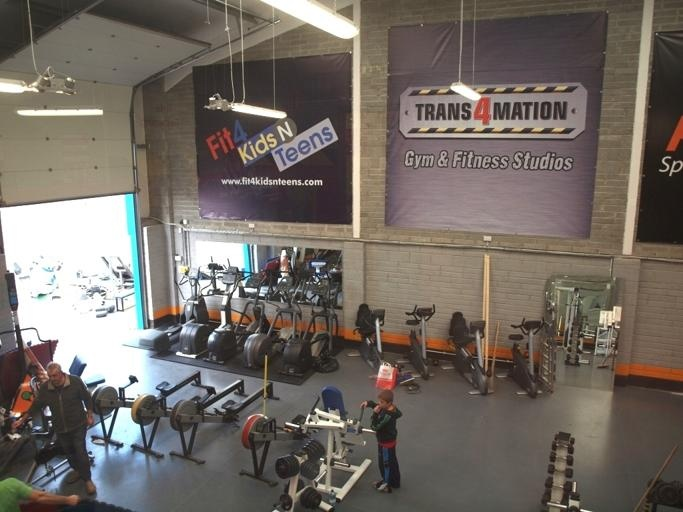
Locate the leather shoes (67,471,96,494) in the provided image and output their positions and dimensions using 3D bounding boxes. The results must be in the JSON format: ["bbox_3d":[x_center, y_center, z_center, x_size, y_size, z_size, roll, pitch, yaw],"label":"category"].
[{"bbox_3d":[-3.490,3.035,6.720,0.338,0.150,0.114,20,40,11],"label":"leather shoes"}]

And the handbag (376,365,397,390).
[{"bbox_3d":[0.708,1.920,7.837,0.268,0.433,0.473,2,5,9],"label":"handbag"}]

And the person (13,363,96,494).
[{"bbox_3d":[-3.724,2.232,6.856,0.877,1.744,0.871,0,5,-10],"label":"person"}]

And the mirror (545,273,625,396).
[{"bbox_3d":[4.175,1.273,8.779,1.153,1.857,0.468,2,5,5],"label":"mirror"}]

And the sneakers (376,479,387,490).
[{"bbox_3d":[0.528,3.021,6.633,0.203,0.087,0.063,1,4,39],"label":"sneakers"}]

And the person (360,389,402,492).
[{"bbox_3d":[0.553,2.387,6.605,0.497,1.382,0.503,2,5,7],"label":"person"}]

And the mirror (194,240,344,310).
[{"bbox_3d":[-1.676,0.351,10.947,3.557,1.357,0.031,-1,-5,19],"label":"mirror"}]
